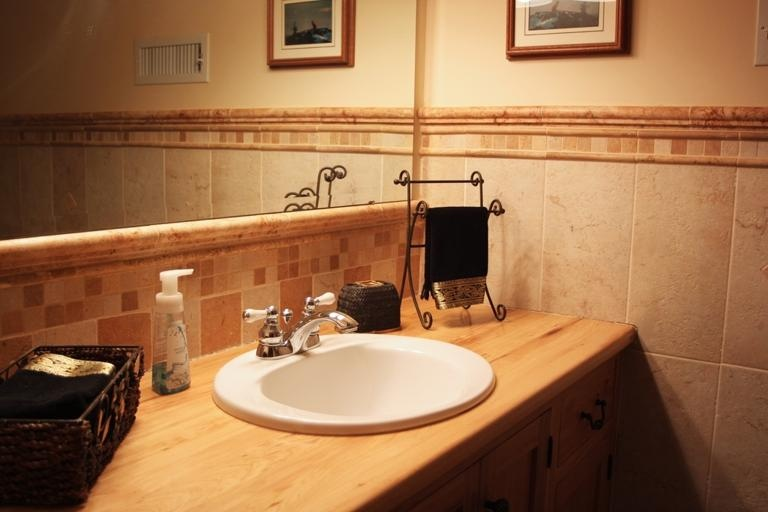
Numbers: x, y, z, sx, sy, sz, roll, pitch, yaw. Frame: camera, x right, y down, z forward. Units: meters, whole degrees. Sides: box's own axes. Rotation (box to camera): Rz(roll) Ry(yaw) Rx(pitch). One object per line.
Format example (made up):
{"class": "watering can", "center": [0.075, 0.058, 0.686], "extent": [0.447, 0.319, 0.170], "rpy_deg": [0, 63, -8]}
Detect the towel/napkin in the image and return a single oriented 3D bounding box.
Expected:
{"class": "towel/napkin", "center": [0.236, -0.002, 1.833], "extent": [0.313, 0.417, 0.089], "rpy_deg": [-5, 9, -35]}

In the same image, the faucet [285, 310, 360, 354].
{"class": "faucet", "center": [-0.162, 0.187, 1.413], "extent": [0.183, 0.070, 0.088], "rpy_deg": [-1, 3, 39]}

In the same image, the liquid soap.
{"class": "liquid soap", "center": [-0.508, 0.167, 1.305], "extent": [0.099, 0.282, 0.142], "rpy_deg": [-10, 13, -39]}
